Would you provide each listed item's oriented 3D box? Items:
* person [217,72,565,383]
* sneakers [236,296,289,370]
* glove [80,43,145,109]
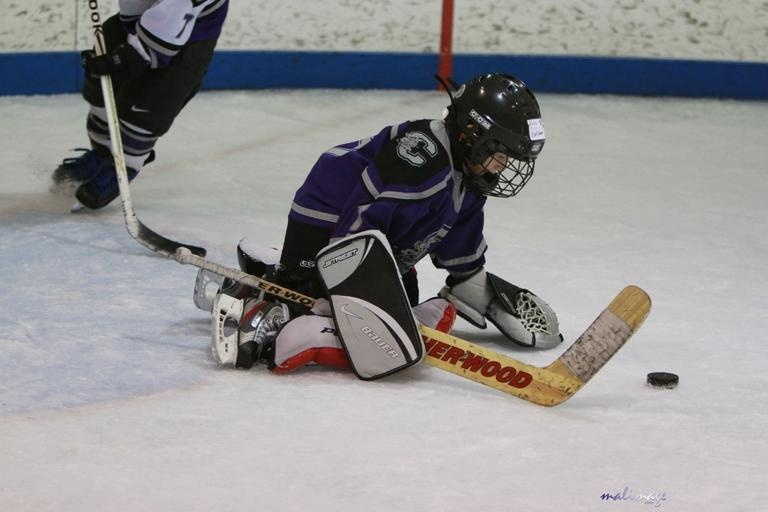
[{"bbox_3d":[0.008,-0.086,3.070,1.311,0.886,0.629,-2,2,13],"label":"person"},{"bbox_3d":[-0.397,0.252,2.829,0.082,0.208,0.164,14,-18,49],"label":"sneakers"},{"bbox_3d":[-1.239,-0.786,3.958,0.354,0.130,0.290,-10,54,4],"label":"glove"}]
